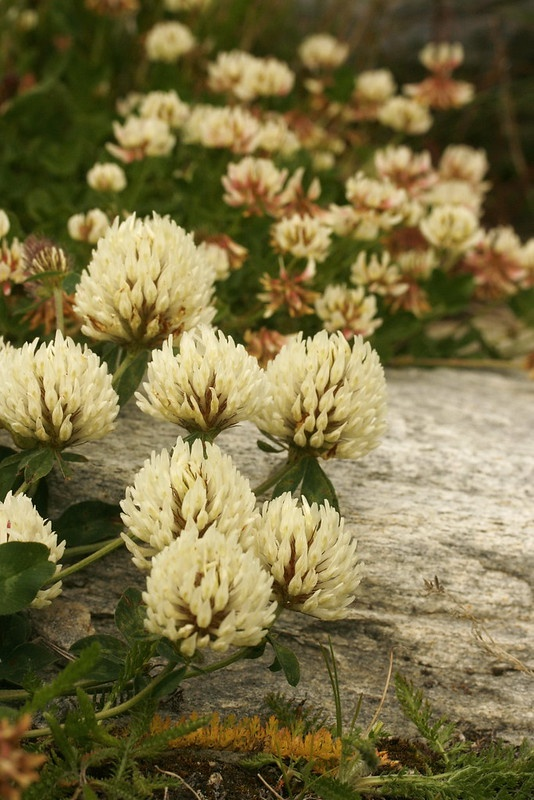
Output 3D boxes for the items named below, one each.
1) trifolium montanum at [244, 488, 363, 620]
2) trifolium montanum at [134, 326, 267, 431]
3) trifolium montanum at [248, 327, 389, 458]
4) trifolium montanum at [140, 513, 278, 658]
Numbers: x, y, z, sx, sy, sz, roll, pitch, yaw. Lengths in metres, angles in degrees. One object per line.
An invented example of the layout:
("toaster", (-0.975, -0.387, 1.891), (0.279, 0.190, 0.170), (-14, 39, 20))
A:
("trifolium montanum", (0.015, 0.223, 1.293), (0.189, 0.169, 0.164), (9, -14, -2))
("trifolium montanum", (-0.111, -0.018, 1.404), (0.187, 0.165, 0.168), (-2, 31, -10))
("trifolium montanum", (0.050, -0.016, 1.488), (0.224, 0.224, 0.206), (3, 19, -6))
("trifolium montanum", (-0.050, 0.242, 1.212), (0.189, 0.165, 0.174), (11, 57, 3))
